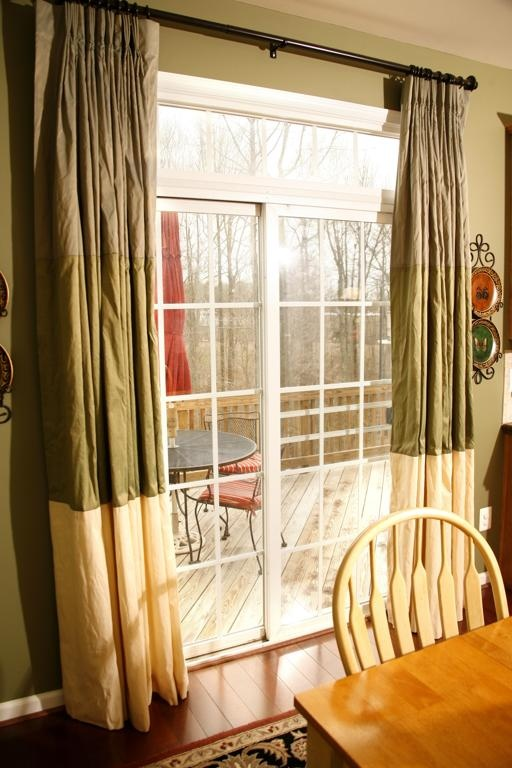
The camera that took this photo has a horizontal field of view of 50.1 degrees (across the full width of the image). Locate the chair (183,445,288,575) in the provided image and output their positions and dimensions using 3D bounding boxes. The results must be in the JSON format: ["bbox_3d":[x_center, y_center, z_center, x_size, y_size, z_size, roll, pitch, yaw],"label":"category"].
[{"bbox_3d":[-0.092,0.492,2.270,0.282,0.634,0.332,0,-1,-3],"label":"chair"}]

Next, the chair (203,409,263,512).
[{"bbox_3d":[-0.066,0.331,2.390,0.223,0.629,0.328,2,4,13],"label":"chair"}]

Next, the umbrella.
[{"bbox_3d":[-0.306,-0.089,2.140,0.110,1.124,0.079,-1,3,-13],"label":"umbrella"}]
